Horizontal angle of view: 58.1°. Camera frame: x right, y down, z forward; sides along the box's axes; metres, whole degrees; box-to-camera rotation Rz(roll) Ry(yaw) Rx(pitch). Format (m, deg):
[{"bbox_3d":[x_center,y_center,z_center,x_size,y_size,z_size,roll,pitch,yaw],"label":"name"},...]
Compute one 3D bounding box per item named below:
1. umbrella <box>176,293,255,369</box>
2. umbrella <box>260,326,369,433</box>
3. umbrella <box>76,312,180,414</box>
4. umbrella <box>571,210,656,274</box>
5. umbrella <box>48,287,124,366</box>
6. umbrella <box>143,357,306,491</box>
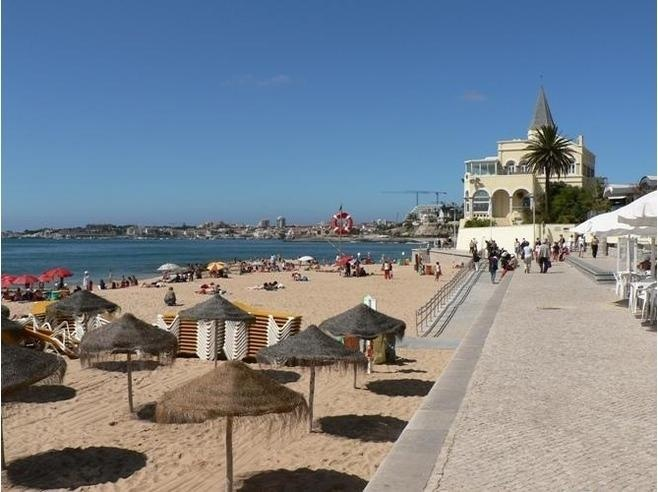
[{"bbox_3d":[-3.186,2.409,17.063,2.460,2.193,2.477,1,-2,-9],"label":"umbrella"},{"bbox_3d":[-0.438,2.622,13.389,2.190,1.710,2.167,1,1,-41],"label":"umbrella"},{"bbox_3d":[-4.637,2.489,13.865,1.963,1.897,1.938,1,0,-38],"label":"umbrella"},{"bbox_3d":[13.467,0.000,28.077,4.903,2.128,4.831,-3,-1,16],"label":"umbrella"},{"bbox_3d":[-7.458,2.016,17.975,1.739,1.325,1.824,-3,1,20],"label":"umbrella"},{"bbox_3d":[-1.851,2.491,10.167,2.426,1.835,2.415,-2,-2,-17],"label":"umbrella"}]
